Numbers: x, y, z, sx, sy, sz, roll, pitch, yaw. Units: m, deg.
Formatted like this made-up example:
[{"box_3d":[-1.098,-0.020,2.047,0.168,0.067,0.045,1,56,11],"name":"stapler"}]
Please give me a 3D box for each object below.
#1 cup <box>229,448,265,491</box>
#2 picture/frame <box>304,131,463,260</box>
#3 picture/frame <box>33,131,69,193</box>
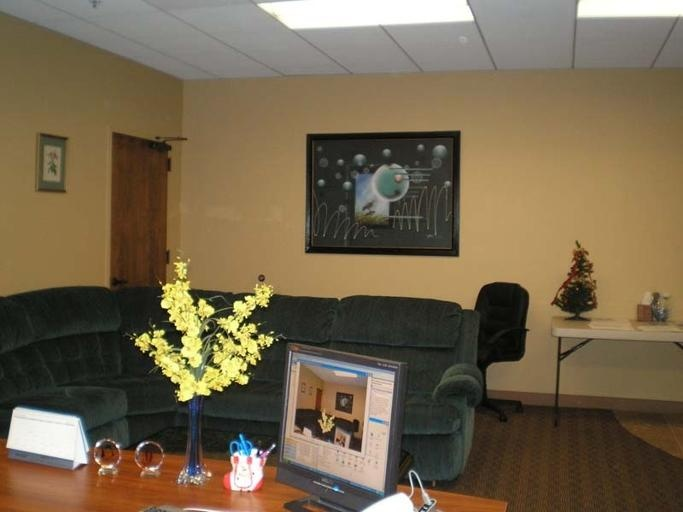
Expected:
[{"box_3d":[-0.365,0.819,2.060,0.141,0.149,0.077,0,-12,0],"name":"cup"},{"box_3d":[0.513,-0.671,5.695,1.256,1.081,0.063,1,2,10],"name":"picture/frame"},{"box_3d":[-2.563,-0.824,4.734,0.049,0.493,0.303,3,5,23],"name":"picture/frame"}]
